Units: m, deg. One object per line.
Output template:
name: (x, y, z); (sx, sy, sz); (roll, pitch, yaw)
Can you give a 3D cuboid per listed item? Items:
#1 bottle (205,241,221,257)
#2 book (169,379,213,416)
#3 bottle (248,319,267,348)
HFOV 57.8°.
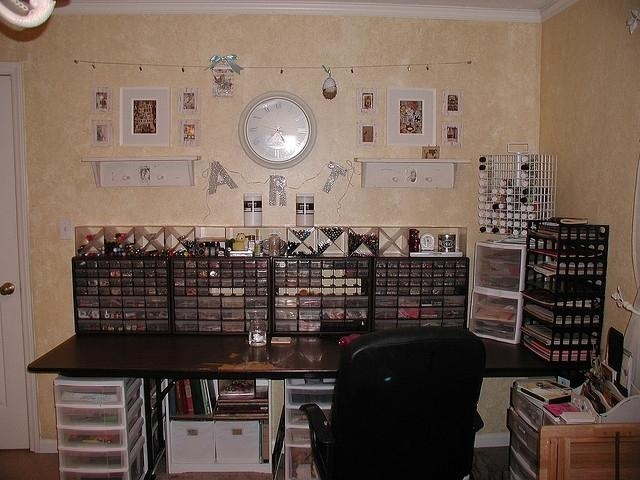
bottle: (-0.758, 0.063, 4.086); (0.092, 0.089, 0.044); (2, 7, -3)
book: (-0.893, 1.099, 4.014); (0.254, 0.350, 0.350); (-2, -1, -17)
bottle: (-0.391, 0.624, 3.904); (0.145, 0.205, 0.146); (0, -9, 0)
